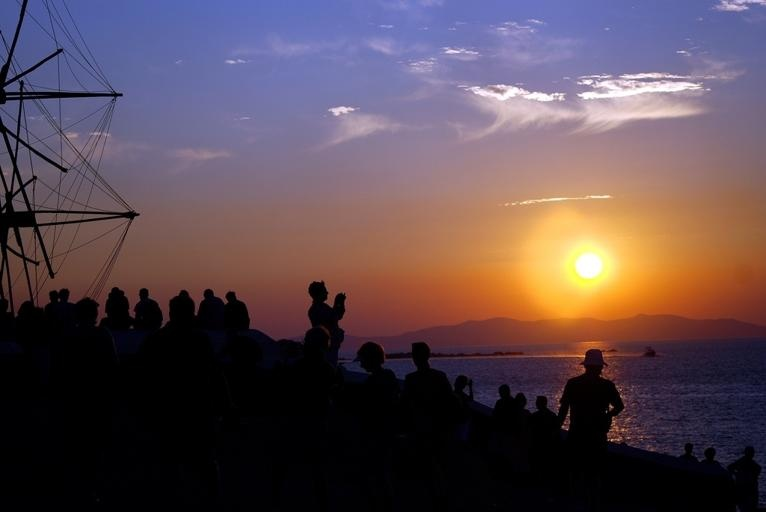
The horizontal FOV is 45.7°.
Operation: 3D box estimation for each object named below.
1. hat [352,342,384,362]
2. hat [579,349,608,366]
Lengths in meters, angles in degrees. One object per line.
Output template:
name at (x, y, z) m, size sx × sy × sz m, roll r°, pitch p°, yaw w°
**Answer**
hat at (-0.171, 1.461, 13.685) m, size 0.413 × 0.308 × 0.712 m, roll 2°, pitch -3°, yaw 1°
hat at (3.428, 1.665, 14.618) m, size 0.413 × 0.197 × 0.349 m, roll 0°, pitch 0°, yaw -16°
